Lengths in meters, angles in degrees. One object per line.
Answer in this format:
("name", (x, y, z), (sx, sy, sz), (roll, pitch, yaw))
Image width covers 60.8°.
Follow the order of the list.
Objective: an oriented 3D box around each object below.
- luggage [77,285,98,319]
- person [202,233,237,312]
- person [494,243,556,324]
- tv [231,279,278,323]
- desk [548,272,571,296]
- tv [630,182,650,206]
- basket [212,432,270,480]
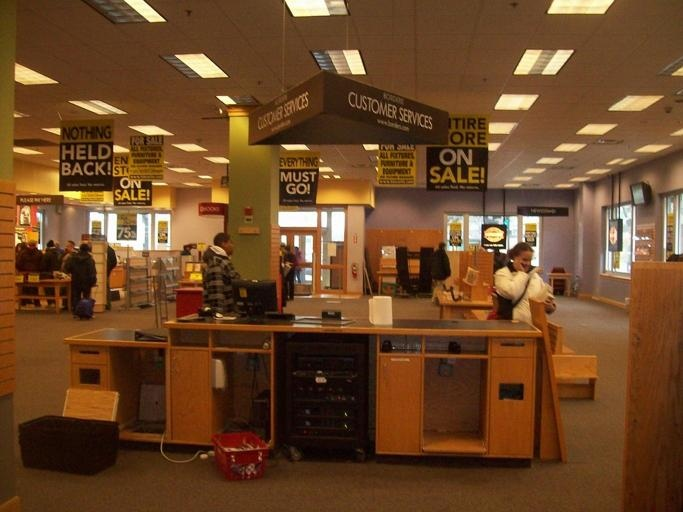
("luggage", (-5.725, 1.068, 12.943), (0.412, 0.768, 0.581), (14, -20, -34))
("person", (-1.522, 0.211, 7.262), (0.442, 0.963, 0.589), (-3, 6, -26))
("person", (2.029, 0.289, 6.460), (0.632, 0.874, 0.336), (2, 6, 14))
("tv", (-0.942, 0.487, 6.218), (0.374, 0.346, 0.164), (1, 9, 5))
("desk", (7.646, 0.992, 20.193), (0.860, 0.877, 0.843), (1, 4, 9))
("tv", (7.829, -1.630, 15.175), (0.368, 0.703, 0.734), (-1, 0, 2))
("basket", (-0.992, 1.935, 5.676), (0.519, 0.326, 0.418), (-1, 6, -14))
